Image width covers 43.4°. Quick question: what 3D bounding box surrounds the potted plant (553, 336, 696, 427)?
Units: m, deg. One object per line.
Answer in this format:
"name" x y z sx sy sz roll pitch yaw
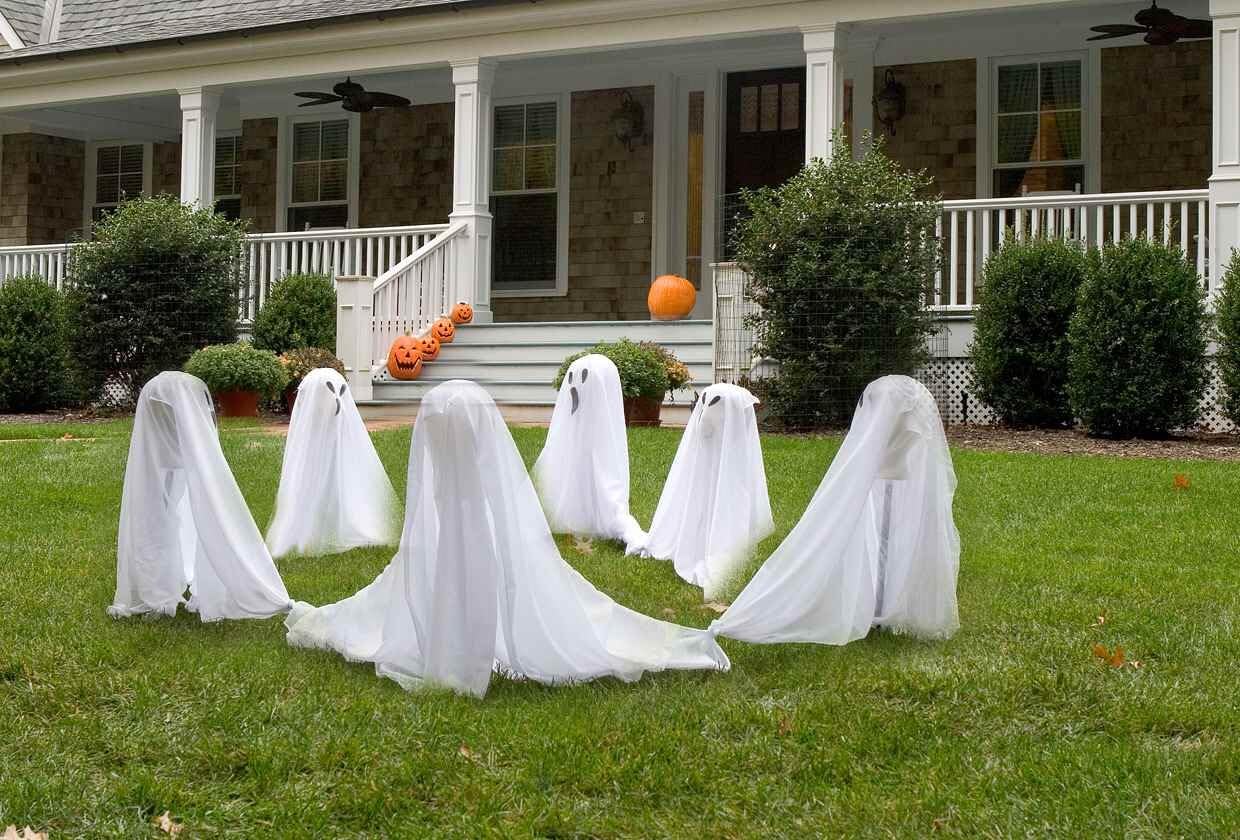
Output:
"potted plant" 0.156 -0.307 15.824 1.136 0.888 1.132 -7 -11 31

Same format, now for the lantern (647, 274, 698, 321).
"lantern" 0.665 -1.470 18.804 0.543 0.579 0.567 3 -2 -28

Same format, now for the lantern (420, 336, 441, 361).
"lantern" -2.176 -0.835 17.874 0.216 0.222 0.227 5 -20 -14

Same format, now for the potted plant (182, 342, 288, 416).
"potted plant" -4.051 -0.414 16.480 1.033 0.745 0.533 -1 3 -13

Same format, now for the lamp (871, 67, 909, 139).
"lamp" 3.258 -3.831 18.701 0.416 0.832 0.179 1 3 12

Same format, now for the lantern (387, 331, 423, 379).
"lantern" -2.436 -0.717 17.695 0.401 0.508 0.330 -1 3 -14

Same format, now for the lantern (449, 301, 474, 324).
"lantern" -1.853 -1.262 18.185 0.230 0.229 0.230 -2 -2 -42

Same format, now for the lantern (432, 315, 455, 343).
"lantern" -2.045 -1.055 17.988 0.249 0.376 0.255 2 -9 -34
